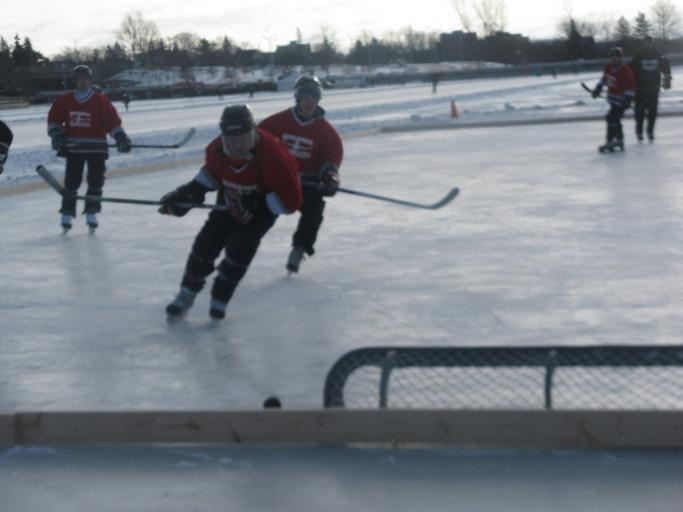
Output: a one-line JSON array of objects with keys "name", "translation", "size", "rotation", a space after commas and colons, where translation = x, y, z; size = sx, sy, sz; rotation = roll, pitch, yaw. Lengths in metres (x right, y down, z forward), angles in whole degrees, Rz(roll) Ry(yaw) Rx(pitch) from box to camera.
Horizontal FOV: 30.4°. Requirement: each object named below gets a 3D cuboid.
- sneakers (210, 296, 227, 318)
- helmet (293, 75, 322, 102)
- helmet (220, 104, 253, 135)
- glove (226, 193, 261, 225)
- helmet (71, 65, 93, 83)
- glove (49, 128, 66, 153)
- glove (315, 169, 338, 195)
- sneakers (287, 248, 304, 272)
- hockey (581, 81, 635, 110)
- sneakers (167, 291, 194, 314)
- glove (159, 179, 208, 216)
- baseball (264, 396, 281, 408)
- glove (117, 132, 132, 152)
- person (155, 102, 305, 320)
[{"name": "sneakers", "translation": [-0.888, 0.354, 9.098], "size": [0.116, 0.137, 0.143], "rotation": [5, 28, -4]}, {"name": "helmet", "translation": [-0.259, -1.332, 9.896], "size": [0.219, 0.211, 0.244], "rotation": [-6, 12, -1]}, {"name": "helmet", "translation": [-0.708, -0.953, 8.659], "size": [0.202, 0.203, 0.234], "rotation": [-3, 3, -3]}, {"name": "glove", "translation": [-0.673, -0.378, 8.933], "size": [0.204, 0.157, 0.234], "rotation": [-24, 44, -18]}, {"name": "helmet", "translation": [-2.361, -1.691, 11.444], "size": [0.182, 0.185, 0.202], "rotation": [-3, -2, -8]}, {"name": "glove", "translation": [-2.587, -1.075, 11.503], "size": [0.086, 0.210, 0.177], "rotation": [2, -3, -39]}, {"name": "glove", "translation": [-0.107, -0.594, 9.857], "size": [0.099, 0.148, 0.201], "rotation": [-12, 39, 11]}, {"name": "sneakers", "translation": [-0.365, 0.026, 10.028], "size": [0.130, 0.187, 0.069], "rotation": [18, -7, -8]}, {"name": "hockey", "translation": [3.294, -1.968, 15.205], "size": [0.513, 0.312, 0.909], "rotation": [-3, 12, 12]}, {"name": "sneakers", "translation": [-1.137, 0.315, 9.079], "size": [0.093, 0.113, 0.268], "rotation": [23, 30, 10]}, {"name": "glove", "translation": [-1.151, -0.436, 9.156], "size": [0.326, 0.129, 0.231], "rotation": [-20, 21, 13]}, {"name": "baseball", "translation": [-0.423, 0.901, 7.785], "size": [0.085, 0.054, 0.082], "rotation": [2, 4, 24]}, {"name": "glove", "translation": [-2.033, -1.076, 11.661], "size": [0.162, 0.182, 0.173], "rotation": [-4, 10, 7]}, {"name": "person", "translation": [-0.808, -0.337, 9.055], "size": [1.070, 1.532, 0.578], "rotation": [-6, 12, -2]}]
